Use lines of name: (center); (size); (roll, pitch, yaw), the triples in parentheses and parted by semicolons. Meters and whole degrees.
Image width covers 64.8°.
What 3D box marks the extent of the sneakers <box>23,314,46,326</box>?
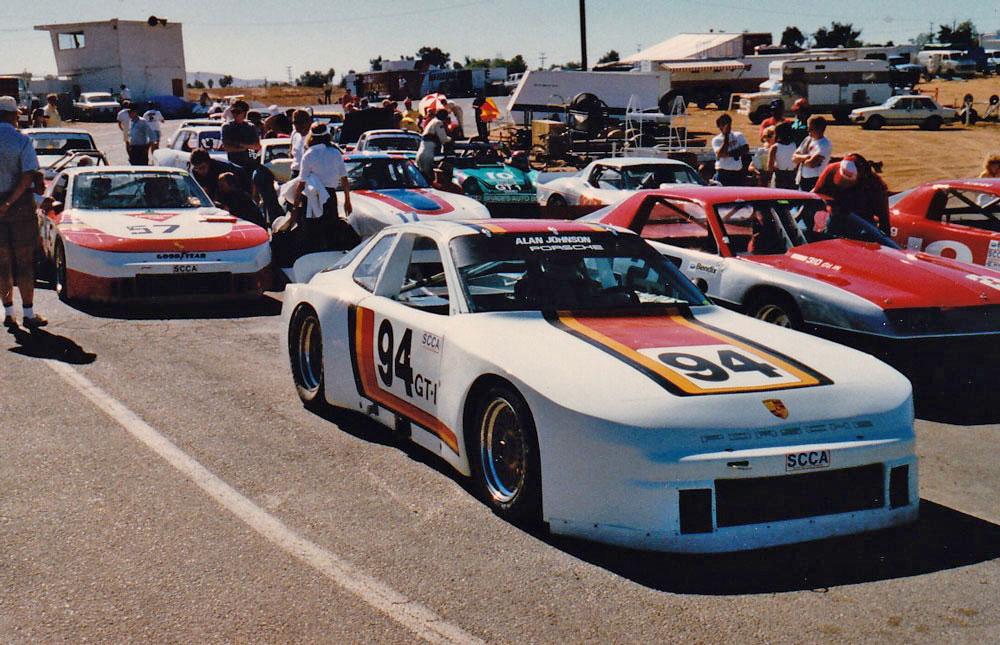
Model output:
sneakers: (-5.235, -0.027, 8.948); (0.110, 0.118, 0.264); (46, 23, 22)
